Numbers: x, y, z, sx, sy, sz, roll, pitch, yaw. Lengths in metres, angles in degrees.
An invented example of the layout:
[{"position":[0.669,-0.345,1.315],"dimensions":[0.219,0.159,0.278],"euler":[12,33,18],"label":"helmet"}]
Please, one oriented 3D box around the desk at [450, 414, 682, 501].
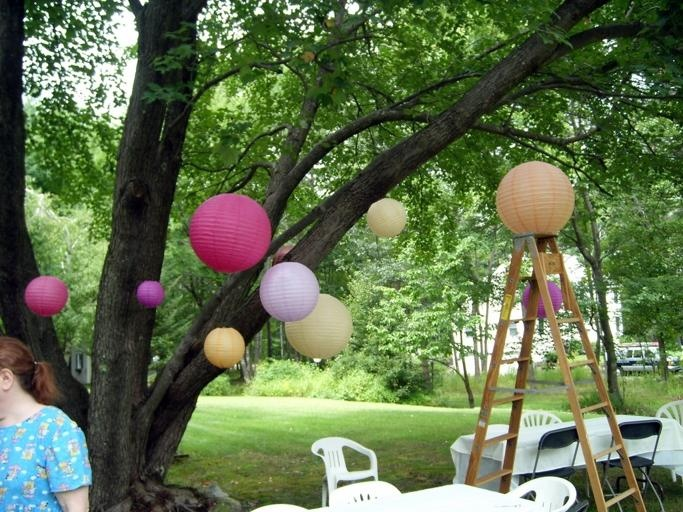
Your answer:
[{"position":[3.293,2.811,9.543],"dimensions":[2.543,0.661,1.486],"euler":[3,-7,-28],"label":"desk"}]
